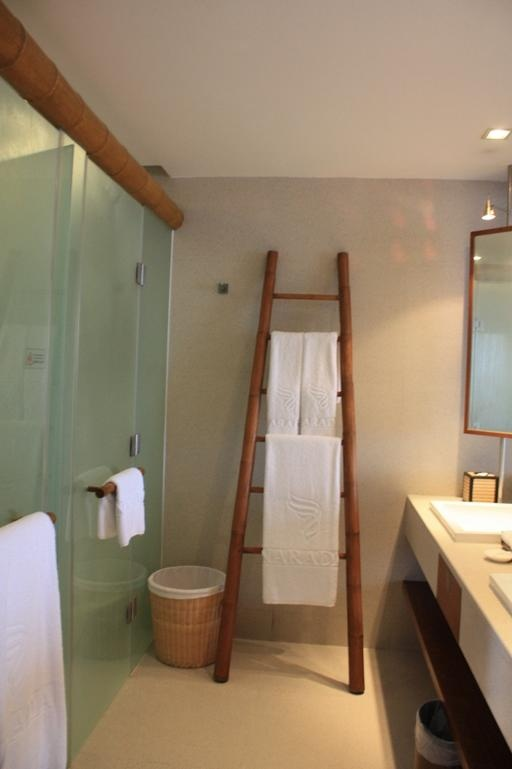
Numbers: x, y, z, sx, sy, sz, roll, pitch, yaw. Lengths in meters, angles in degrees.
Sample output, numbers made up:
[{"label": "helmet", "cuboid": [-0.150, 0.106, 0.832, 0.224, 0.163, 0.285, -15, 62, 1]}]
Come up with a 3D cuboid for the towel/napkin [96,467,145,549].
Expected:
[{"label": "towel/napkin", "cuboid": [-0.449, 0.398, 1.872, 0.088, 0.242, 0.274, 1, -3, 9]}]

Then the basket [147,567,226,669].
[{"label": "basket", "cuboid": [-0.303, 0.965, 2.433, 0.294, 0.353, 0.351, 2, -6, -19]}]

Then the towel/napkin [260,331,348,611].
[{"label": "towel/napkin", "cuboid": [0.191, 0.329, 2.346, 0.313, 1.091, 0.190, 1, 1, 3]}]

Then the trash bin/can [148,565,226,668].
[{"label": "trash bin/can", "cuboid": [-0.304, 0.980, 2.446, 0.292, 0.354, 0.353, 2, -6, -16]}]
